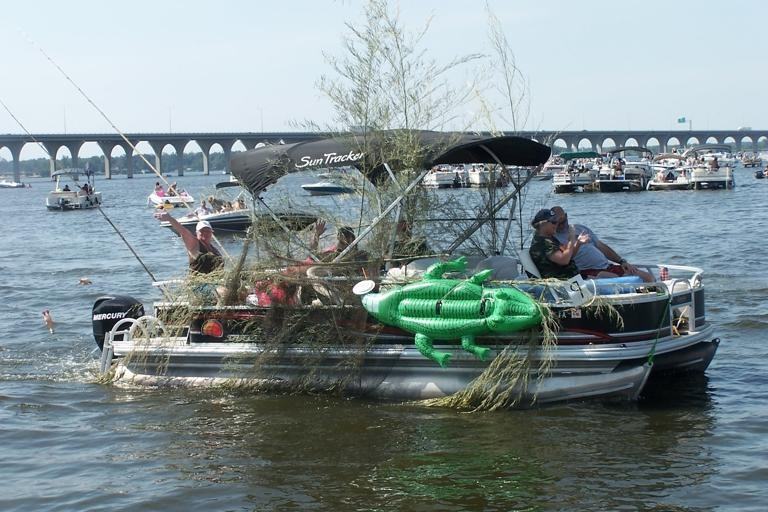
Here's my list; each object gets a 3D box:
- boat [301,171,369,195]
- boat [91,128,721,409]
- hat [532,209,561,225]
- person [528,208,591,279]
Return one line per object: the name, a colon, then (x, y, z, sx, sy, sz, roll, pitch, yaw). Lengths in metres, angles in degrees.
boat: (-0.820, -1.216, 18.859, 1.296, 0.279, 0.331, 0, 14, 7)
boat: (0.476, 0.101, 17.402, 8.838, 3.681, 1.911, 1, -1, 14)
hat: (2.551, -0.606, 17.168, 0.382, 0.152, 0.232, -16, 5, -4)
person: (2.635, -0.126, 16.998, 1.262, 1.150, 0.657, 2, 1, 36)
